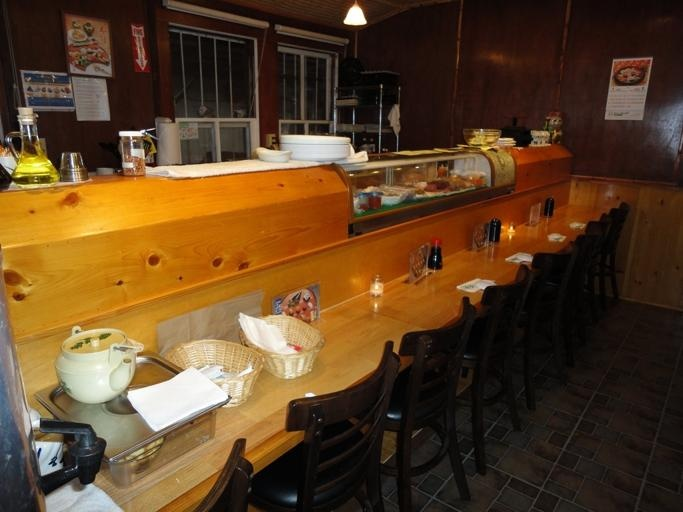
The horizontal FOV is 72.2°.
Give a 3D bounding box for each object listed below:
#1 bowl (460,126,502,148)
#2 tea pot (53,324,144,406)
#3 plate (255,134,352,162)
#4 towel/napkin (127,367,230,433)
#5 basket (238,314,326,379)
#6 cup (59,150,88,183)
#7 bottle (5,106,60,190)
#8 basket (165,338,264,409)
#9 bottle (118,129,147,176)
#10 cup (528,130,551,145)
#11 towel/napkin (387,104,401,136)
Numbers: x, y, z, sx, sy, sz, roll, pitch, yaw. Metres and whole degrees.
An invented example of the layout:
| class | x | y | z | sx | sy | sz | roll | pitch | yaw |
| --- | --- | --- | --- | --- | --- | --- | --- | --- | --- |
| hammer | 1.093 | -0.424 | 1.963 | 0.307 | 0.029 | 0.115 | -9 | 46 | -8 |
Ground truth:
| class | x | y | z | sx | sy | sz | roll | pitch | yaw |
| --- | --- | --- | --- | --- | --- | --- | --- | --- | --- |
| bowl | 1.239 | -0.992 | 3.944 | 0.437 | 0.139 | 0.252 | -12 | 21 | -33 |
| tea pot | -0.748 | 0.330 | 1.514 | 0.255 | 0.175 | 0.232 | 2 | 10 | 0 |
| plate | -0.163 | -0.553 | 2.421 | 0.526 | 0.135 | 0.240 | -5 | 18 | -13 |
| towel/napkin | -0.507 | 0.445 | 1.470 | 0.246 | 0.050 | 0.188 | -14 | 22 | -38 |
| basket | -0.227 | 0.356 | 1.949 | 0.248 | 0.124 | 0.308 | -14 | 35 | -41 |
| cup | -0.972 | -0.322 | 1.706 | 0.093 | 0.095 | 0.171 | -10 | 20 | -28 |
| bottle | -1.036 | -0.362 | 1.562 | 0.121 | 0.246 | 0.129 | -1 | 18 | 0 |
| basket | -0.466 | 0.419 | 1.777 | 0.267 | 0.096 | 0.258 | 14 | 19 | -10 |
| bottle | -0.825 | -0.409 | 1.863 | 0.098 | 0.166 | 0.194 | -8 | 19 | -21 |
| cup | 1.927 | -1.155 | 4.606 | 0.162 | 0.108 | 0.106 | -12 | 25 | -27 |
| towel/napkin | 0.698 | -1.796 | 6.226 | 0.181 | 0.410 | 0.398 | 1 | 18 | 6 |
